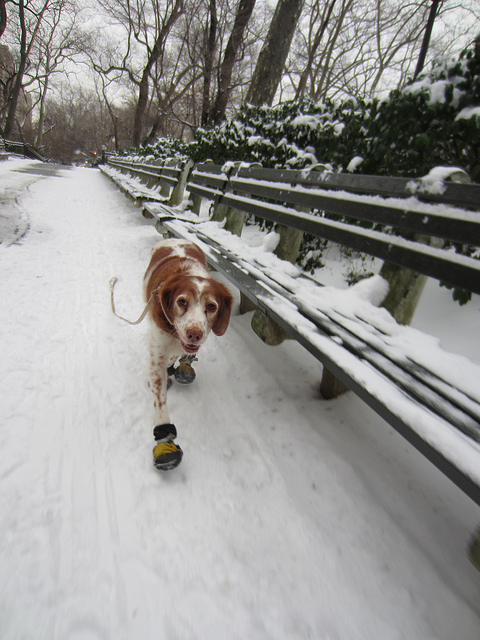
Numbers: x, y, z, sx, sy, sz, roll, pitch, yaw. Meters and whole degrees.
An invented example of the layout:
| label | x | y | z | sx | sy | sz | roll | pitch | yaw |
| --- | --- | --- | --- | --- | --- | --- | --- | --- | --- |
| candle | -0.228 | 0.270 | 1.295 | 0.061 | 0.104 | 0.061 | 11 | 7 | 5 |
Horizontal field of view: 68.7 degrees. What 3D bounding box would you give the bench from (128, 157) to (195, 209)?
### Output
| label | x | y | z | sx | sy | sz | roll | pitch | yaw |
| --- | --- | --- | --- | --- | --- | --- | --- | --- | --- |
| bench | -1.117 | -2.076 | 5.645 | 0.515 | 0.489 | 1.110 | 12 | -12 | -14 |
